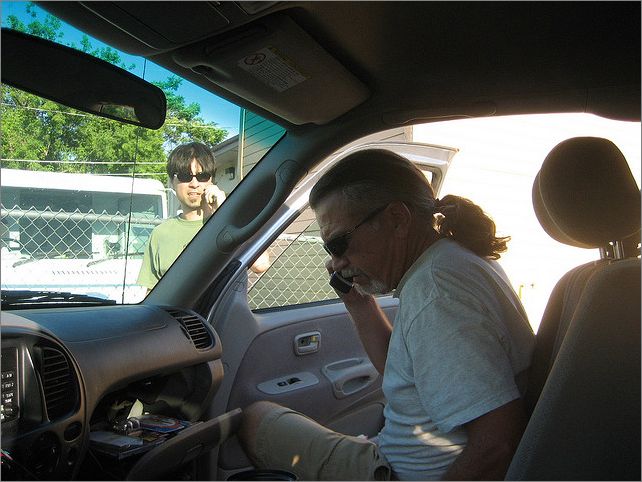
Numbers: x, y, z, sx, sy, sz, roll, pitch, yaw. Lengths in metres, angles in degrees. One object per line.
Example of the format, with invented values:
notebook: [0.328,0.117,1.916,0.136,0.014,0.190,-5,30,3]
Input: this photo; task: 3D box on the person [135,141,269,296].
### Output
person: [-0.701,-0.110,2.703,0.697,0.988,0.483,-11,-25,-20]

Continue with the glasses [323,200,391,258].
glasses: [0.133,-0.020,1.926,0.222,0.066,0.219,-37,-9,-3]
